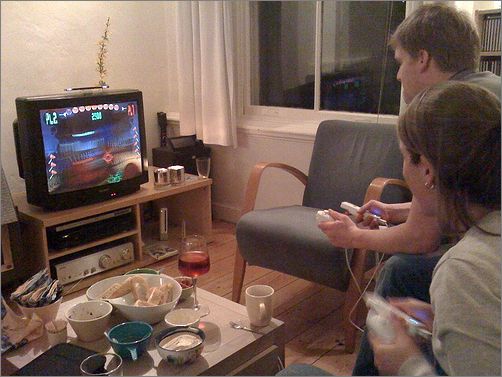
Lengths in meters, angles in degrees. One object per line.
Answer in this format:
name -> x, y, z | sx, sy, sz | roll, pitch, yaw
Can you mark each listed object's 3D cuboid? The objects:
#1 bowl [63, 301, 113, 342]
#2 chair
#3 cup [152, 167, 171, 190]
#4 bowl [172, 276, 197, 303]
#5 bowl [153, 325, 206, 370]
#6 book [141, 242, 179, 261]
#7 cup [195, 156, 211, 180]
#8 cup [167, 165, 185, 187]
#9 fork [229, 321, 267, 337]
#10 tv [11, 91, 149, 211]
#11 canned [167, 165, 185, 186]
bowl -> -0.512, 0.418, 1.201 | 0.116, 0.067, 0.113 | -1, 5, 0
chair -> 0.427, 0.126, 2.086 | 0.748, 0.912, 0.916 | 10, 17, 37
cup -> -0.641, -0.070, 2.733 | 0.098, 0.159, 0.164 | 3, 8, 25
bowl -> -0.245, 0.366, 1.400 | 0.084, 0.053, 0.082 | 1, 7, 0
bowl -> -0.202, 0.467, 1.106 | 0.139, 0.060, 0.135 | -1, 6, 0
book -> -0.662, 0.455, 2.737 | 0.142, 0.028, 0.133 | 18, 21, 40
cup -> -0.353, -0.149, 2.947 | 0.146, 0.159, 0.143 | 1, 11, 0
cup -> -0.545, -0.085, 2.774 | 0.133, 0.141, 0.131 | 1, 16, 0
fork -> -0.008, 0.455, 1.222 | 0.097, 0.010, 0.013 | 18, 33, 26
tv -> -1.021, -0.219, 2.272 | 0.395, 0.566, 0.675 | 12, 19, 40
canned -> -0.544, -0.093, 2.780 | 0.128, 0.135, 0.125 | 1, 17, -1
